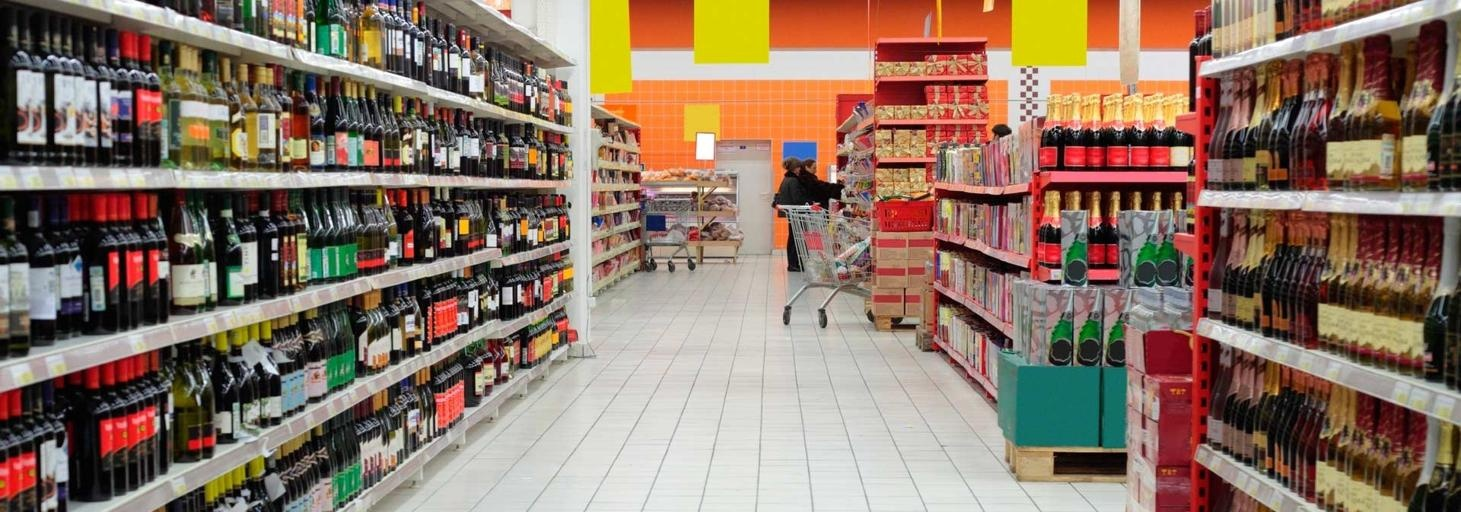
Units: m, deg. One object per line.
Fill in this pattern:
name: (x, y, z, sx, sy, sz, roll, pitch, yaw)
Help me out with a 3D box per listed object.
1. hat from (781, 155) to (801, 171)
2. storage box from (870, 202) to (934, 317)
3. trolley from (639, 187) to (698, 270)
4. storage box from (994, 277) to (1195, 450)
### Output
hat: (1.144, -1.719, 16.722, 0.403, 0.292, 0.452, 2, 5, 8)
storage box: (2.230, 0.115, 11.596, 0.778, 1.670, 0.290, -1, 9, 7)
trolley: (-1.449, -0.466, 18.839, 1.474, 1.301, 1.433, -2, -4, 10)
storage box: (2.893, 0.940, 7.924, 2.421, 1.559, 1.403, 0, 2, 3)
